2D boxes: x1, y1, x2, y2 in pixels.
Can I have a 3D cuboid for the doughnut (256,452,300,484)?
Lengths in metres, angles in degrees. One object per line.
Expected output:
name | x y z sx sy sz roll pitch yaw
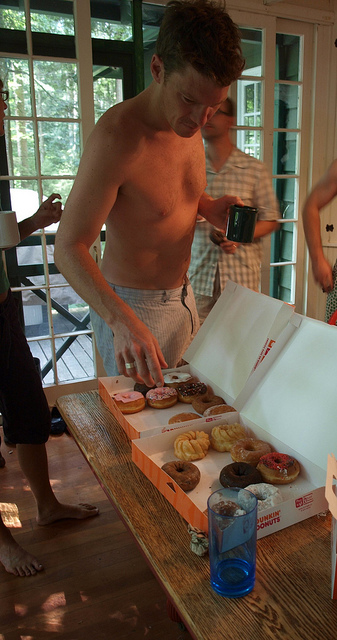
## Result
doughnut | 0.208 0.287 0.828 0.078 0.041 0.054 2 11 19

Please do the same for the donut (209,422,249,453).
donut | 0.139 0.250 0.967 0.062 0.042 0.065 -2 0 -25

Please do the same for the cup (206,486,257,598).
cup | 0.085 0.290 0.580 0.066 0.129 0.099 -1 11 4

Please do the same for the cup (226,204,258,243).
cup | 0.246 -0.332 1.519 0.109 0.127 0.115 8 28 -4

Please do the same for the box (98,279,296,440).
box | 0.048 0.099 1.186 0.460 0.339 0.366 -11 27 -11

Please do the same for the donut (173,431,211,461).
donut | 0.048 0.264 0.933 0.049 0.025 0.057 -2 13 0

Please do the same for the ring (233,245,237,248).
ring | 0.264 -0.296 1.749 0.020 0.005 0.022 9 22 7
